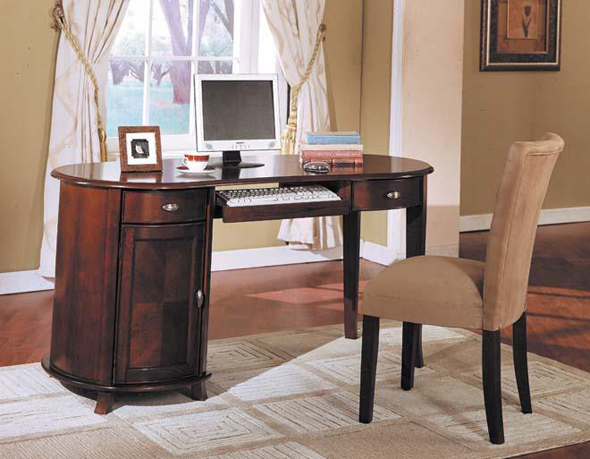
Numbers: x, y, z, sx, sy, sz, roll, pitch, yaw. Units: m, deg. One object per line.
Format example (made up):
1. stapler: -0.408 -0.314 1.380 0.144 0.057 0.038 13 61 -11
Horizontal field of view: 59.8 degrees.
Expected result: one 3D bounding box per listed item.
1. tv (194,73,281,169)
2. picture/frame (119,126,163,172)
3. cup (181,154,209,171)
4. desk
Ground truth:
1. tv: -0.291 -0.543 2.531 0.543 0.532 0.206 -3 5 -26
2. picture/frame: -0.666 -0.343 2.200 0.204 0.214 0.031 -3 2 -29
3. cup: -0.452 -0.300 2.275 0.095 0.054 0.081 -3 8 -6
4. desk: -0.195 0.209 2.504 1.720 0.959 0.733 -3 9 -23
